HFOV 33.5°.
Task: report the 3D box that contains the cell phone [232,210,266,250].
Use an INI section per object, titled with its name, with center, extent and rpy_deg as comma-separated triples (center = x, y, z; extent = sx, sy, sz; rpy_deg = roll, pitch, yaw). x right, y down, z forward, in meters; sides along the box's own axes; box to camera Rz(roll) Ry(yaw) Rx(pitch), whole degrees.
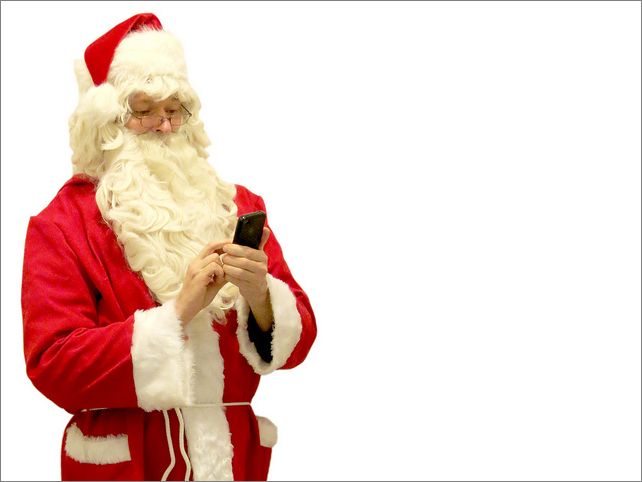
[cell phone]
center = -0.363, -0.062, 5.529
extent = 0.139, 0.023, 0.228
rpy_deg = -5, -42, -16
